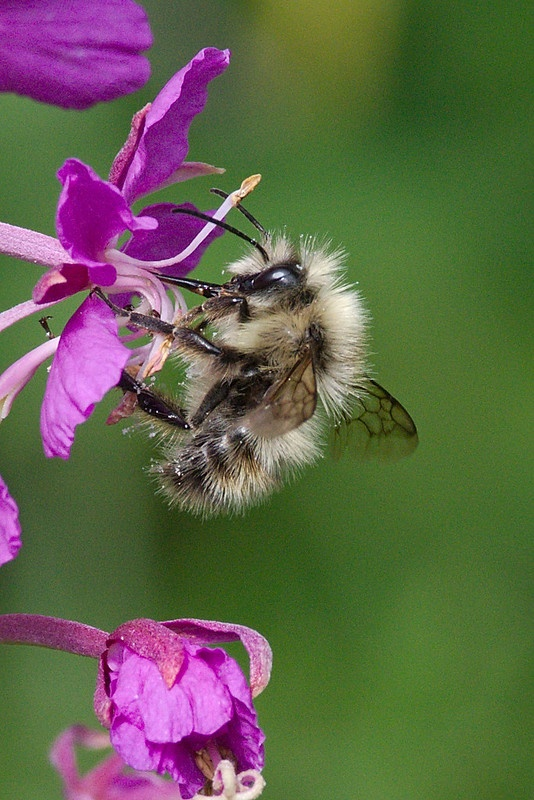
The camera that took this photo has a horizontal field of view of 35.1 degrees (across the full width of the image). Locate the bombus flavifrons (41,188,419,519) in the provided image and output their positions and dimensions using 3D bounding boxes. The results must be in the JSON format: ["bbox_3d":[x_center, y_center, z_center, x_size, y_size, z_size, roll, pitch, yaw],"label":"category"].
[{"bbox_3d":[-0.083,-0.008,0.947,0.421,0.166,0.324,5,71,-42],"label":"bombus flavifrons"}]
